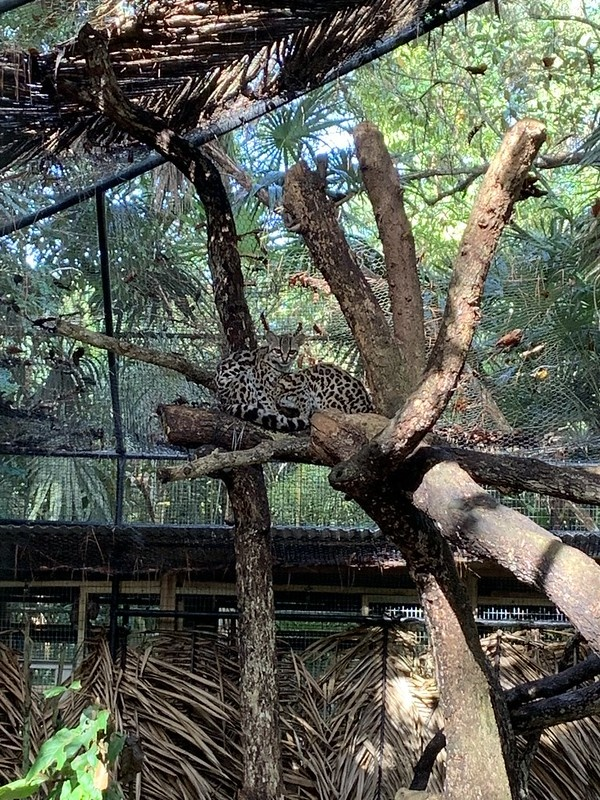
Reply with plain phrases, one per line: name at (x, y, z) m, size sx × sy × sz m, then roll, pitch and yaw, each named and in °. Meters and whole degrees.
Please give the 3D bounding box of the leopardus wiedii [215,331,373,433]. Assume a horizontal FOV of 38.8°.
leopardus wiedii at (-0.040, -0.149, 5.162) m, size 0.799 × 0.625 × 1.226 m, roll 4°, pitch 5°, yaw -25°
